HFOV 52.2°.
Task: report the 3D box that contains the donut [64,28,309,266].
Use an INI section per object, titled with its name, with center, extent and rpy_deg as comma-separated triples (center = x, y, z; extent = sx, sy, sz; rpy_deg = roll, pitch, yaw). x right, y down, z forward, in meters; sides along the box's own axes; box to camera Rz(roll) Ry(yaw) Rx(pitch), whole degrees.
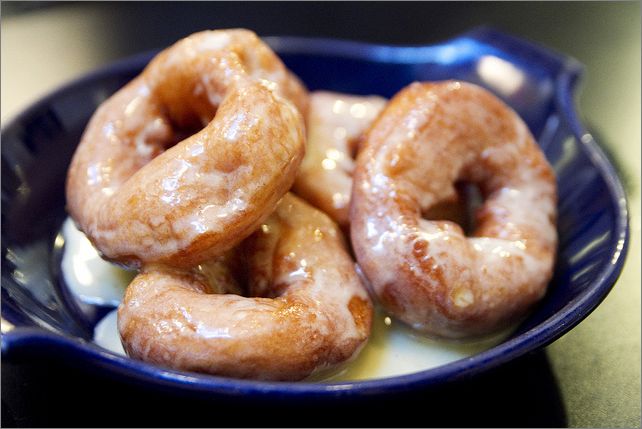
[donut]
center = -0.171, -0.089, 1.162
extent = 0.413, 0.155, 0.410
rpy_deg = 8, 68, 26
